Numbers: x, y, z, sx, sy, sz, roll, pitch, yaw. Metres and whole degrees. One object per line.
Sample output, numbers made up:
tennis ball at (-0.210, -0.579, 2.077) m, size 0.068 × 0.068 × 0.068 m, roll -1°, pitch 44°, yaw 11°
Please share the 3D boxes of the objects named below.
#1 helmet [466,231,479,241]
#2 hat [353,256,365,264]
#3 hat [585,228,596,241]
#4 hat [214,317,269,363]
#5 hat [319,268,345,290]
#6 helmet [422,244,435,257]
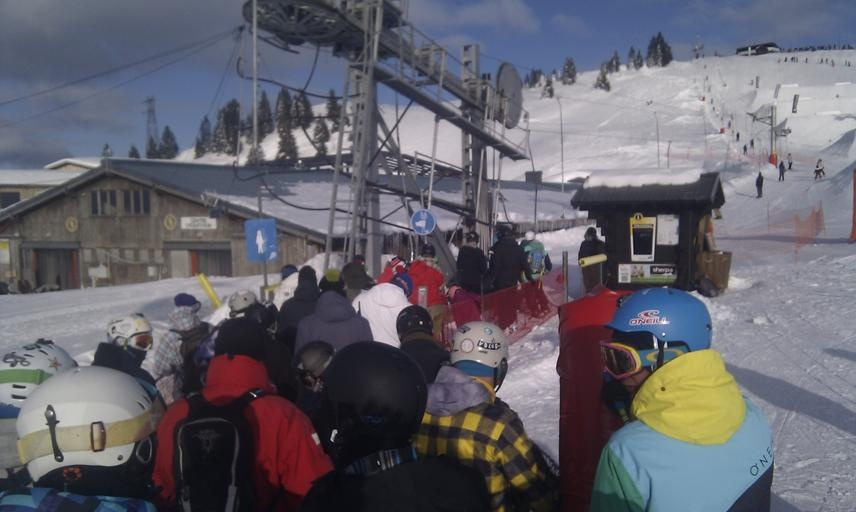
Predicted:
helmet at (1.192, -0.512, 20.386) m, size 0.201 × 0.272 × 0.210 m, roll 10°, pitch 6°, yaw 4°
hat at (-1.826, 0.089, 20.154) m, size 0.221 × 0.275 × 0.287 m, roll 4°, pitch 6°, yaw 6°
hat at (4.856, -0.638, 22.645) m, size 0.296 × 0.404 × 0.393 m, roll 10°, pitch -3°, yaw -14°
hat at (-3.444, 1.568, 14.183) m, size 0.685 × 0.829 × 0.954 m, roll 2°, pitch -3°, yaw 4°
hat at (-2.274, 0.588, 18.295) m, size 0.515 × 0.507 × 0.170 m, roll 8°, pitch 5°, yaw 0°
helmet at (0.033, -0.128, 19.739) m, size 0.377 × 0.317 × 0.194 m, roll -5°, pitch 3°, yaw -36°
